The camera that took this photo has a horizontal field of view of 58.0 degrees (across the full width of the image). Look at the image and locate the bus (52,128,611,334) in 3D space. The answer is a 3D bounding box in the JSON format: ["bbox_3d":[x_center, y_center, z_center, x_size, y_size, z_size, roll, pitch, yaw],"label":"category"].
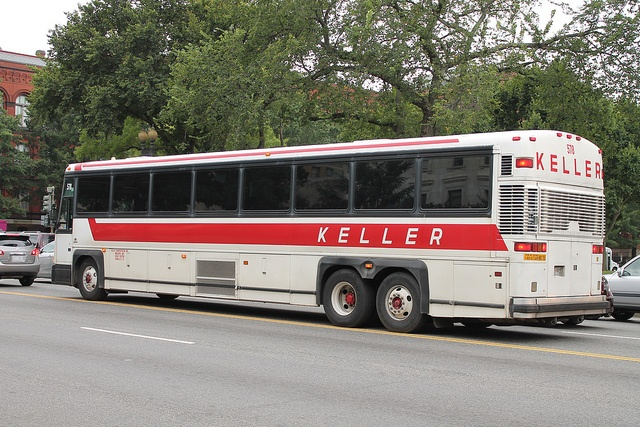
[{"bbox_3d":[-2.039,0.513,17.904,18.035,5.064,5.631,-1,-4,39],"label":"bus"}]
